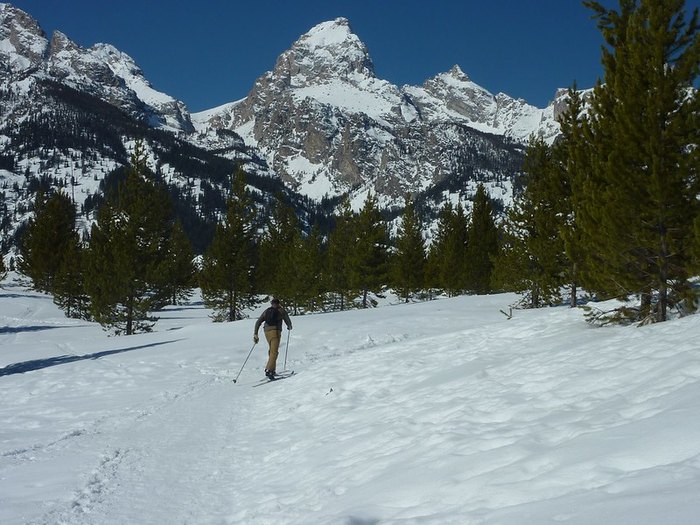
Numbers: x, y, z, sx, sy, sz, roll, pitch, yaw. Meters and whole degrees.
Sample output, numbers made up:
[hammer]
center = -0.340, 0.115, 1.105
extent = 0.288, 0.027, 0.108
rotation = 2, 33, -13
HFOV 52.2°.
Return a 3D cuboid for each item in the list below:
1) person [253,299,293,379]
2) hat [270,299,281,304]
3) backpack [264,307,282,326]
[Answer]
[person]
center = -2.633, 2.583, 24.171
extent = 0.958, 2.892, 1.114
rotation = -1, -23, 11
[hat]
center = -2.522, 1.378, 24.046
extent = 0.228, 0.217, 0.254
rotation = -2, 4, -42
[backpack]
center = -2.583, 1.831, 23.987
extent = 0.413, 0.581, 0.319
rotation = 1, -43, 2
